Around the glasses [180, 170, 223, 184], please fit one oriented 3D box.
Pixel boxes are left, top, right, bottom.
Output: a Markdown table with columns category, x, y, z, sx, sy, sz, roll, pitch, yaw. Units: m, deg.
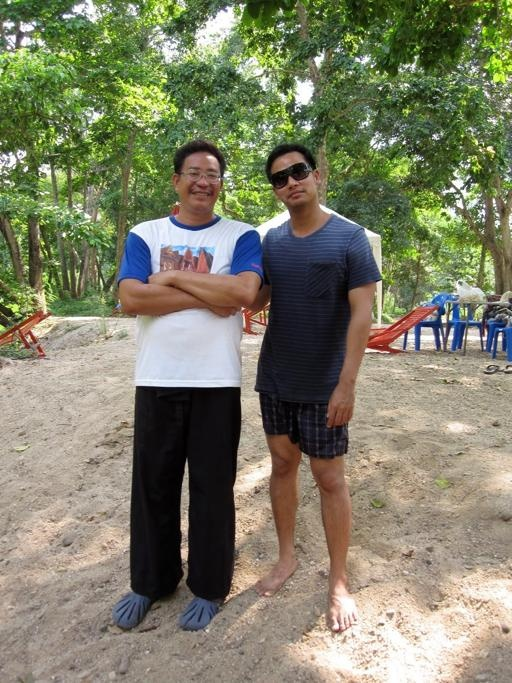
| category | x | y | z | sx | sy | sz | roll | pitch | yaw |
| --- | --- | --- | --- | --- | --- | --- | --- | --- | --- |
| glasses | -0.243 | -0.737 | 2.371 | 0.172 | 0.066 | 0.084 | -8 | 12 | -5 |

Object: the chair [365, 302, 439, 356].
| category | x | y | z | sx | sy | sz | roll | pitch | yaw |
| --- | --- | --- | --- | --- | --- | --- | --- | --- | --- |
| chair | 2.589 | -0.157 | 9.213 | 0.535 | 0.789 | 1.692 | 15 | -5 | -26 |

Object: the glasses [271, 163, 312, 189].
| category | x | y | z | sx | sy | sz | roll | pitch | yaw |
| --- | --- | --- | --- | --- | --- | --- | --- | --- | --- |
| glasses | 0.159 | -0.757 | 2.424 | 0.195 | 0.107 | 0.110 | -6 | 12 | 6 |
